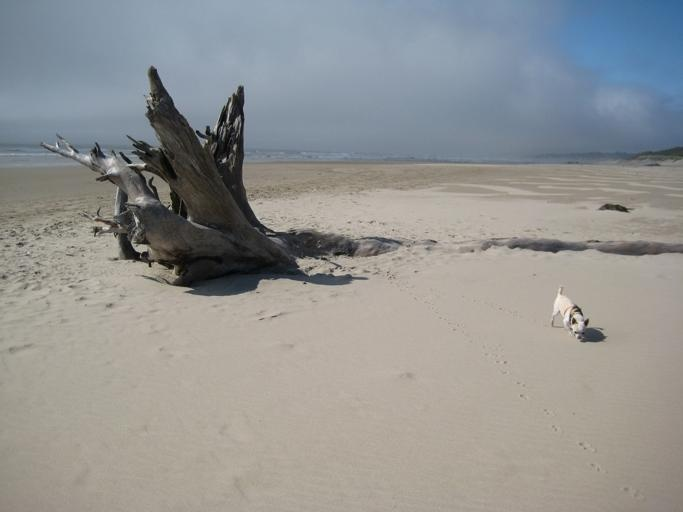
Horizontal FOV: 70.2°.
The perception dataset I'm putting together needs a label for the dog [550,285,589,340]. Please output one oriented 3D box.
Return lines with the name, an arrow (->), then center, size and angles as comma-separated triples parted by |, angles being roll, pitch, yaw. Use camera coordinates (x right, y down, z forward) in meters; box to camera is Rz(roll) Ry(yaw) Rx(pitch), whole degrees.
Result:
dog -> 3.464, 0.897, 7.383 | 0.256, 0.606, 1.007 | -10, 25, 10
